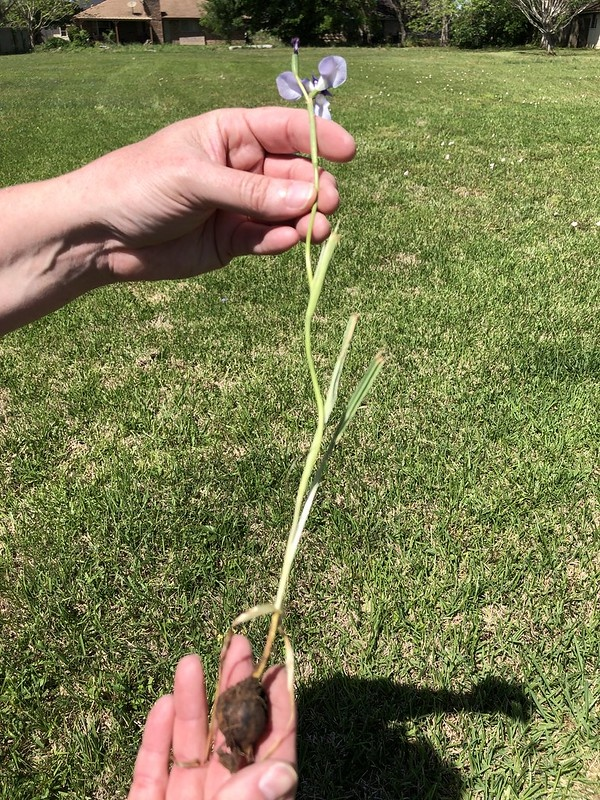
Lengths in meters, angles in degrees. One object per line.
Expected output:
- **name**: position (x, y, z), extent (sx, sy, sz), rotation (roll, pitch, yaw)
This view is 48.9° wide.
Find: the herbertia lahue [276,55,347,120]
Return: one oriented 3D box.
- **herbertia lahue**: position (0.022, -0.691, 1.472), extent (0.143, 0.139, 0.312), rotation (-1, 27, -1)
